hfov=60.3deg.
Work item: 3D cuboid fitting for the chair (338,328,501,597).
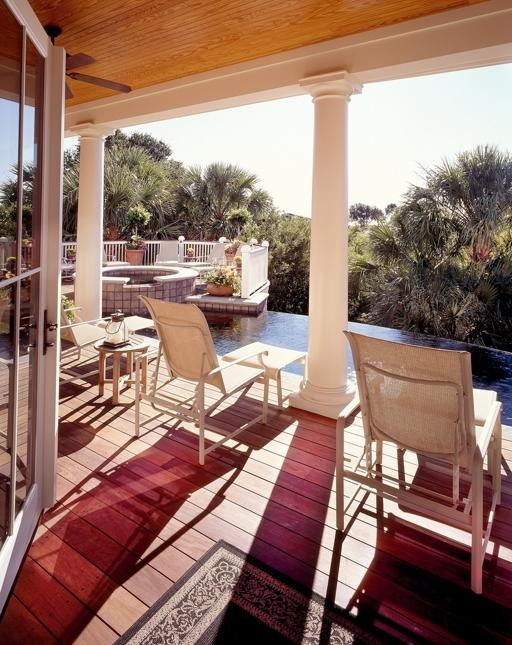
[{"bbox_3d":[0.801,0.519,2.170,0.771,1.002,1.040,7,10,29],"label":"chair"}]

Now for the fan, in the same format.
[{"bbox_3d":[-1.357,-2.046,3.649,0.586,0.440,1.296,-1,10,-16],"label":"fan"}]

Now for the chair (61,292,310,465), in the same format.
[{"bbox_3d":[-0.281,0.251,3.366,1.348,0.703,1.271,11,17,36],"label":"chair"}]

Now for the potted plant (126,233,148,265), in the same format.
[{"bbox_3d":[-3.456,-2.087,12.608,0.506,0.864,1.765,0,9,-16],"label":"potted plant"}]
